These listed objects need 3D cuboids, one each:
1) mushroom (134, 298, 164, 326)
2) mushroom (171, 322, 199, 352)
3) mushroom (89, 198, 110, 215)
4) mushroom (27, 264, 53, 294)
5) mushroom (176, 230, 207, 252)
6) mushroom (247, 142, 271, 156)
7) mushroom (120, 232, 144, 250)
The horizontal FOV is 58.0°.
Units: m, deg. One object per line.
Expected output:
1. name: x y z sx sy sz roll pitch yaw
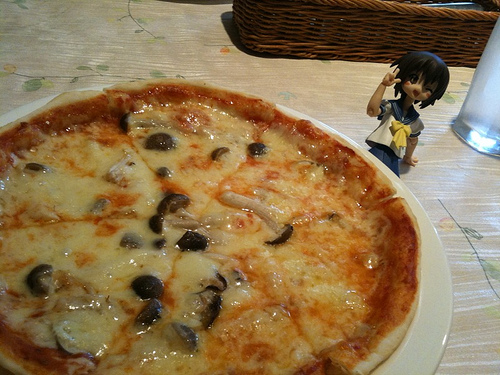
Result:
1. mushroom: -0.299 0.370 1.328 0.057 0.018 0.078 33 57 9
2. mushroom: -0.190 0.425 1.285 0.089 0.020 0.062 42 36 13
3. mushroom: -0.520 0.066 1.565 0.045 0.016 0.065 32 49 9
4. mushroom: -0.620 0.275 1.357 0.088 0.027 0.074 4 50 1
5. mushroom: -0.197 0.178 1.509 0.100 0.036 0.071 -4 44 -12
6. mushroom: 0.028 -0.163 1.888 0.069 0.016 0.070 29 39 32
7. mushroom: -0.390 0.174 1.488 0.075 0.020 0.068 -3 42 -11
